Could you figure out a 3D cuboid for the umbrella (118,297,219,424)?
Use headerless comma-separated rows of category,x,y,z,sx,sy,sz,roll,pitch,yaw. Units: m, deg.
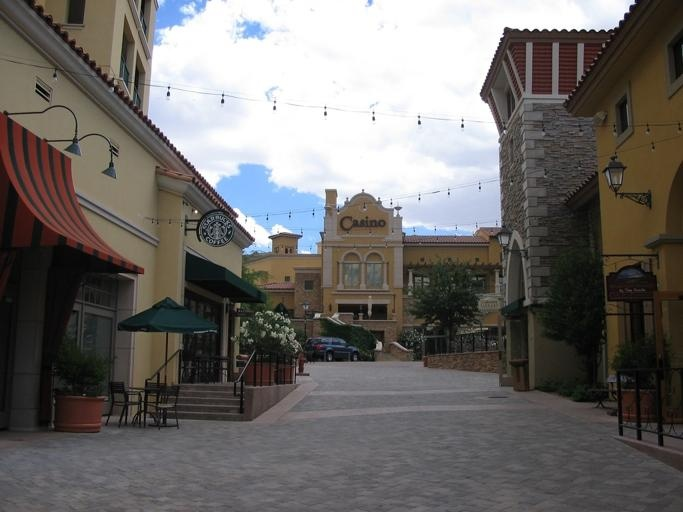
umbrella,-4.376,2.619,17.394,2.468,3.108,2.609,-10,-16,39

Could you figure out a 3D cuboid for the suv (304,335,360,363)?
suv,-0.567,6.496,46.482,3.550,1.378,1.589,3,-4,-40

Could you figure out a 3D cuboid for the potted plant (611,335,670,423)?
potted plant,6.810,2.812,14.992,1.251,1.965,2.048,-1,-5,21
